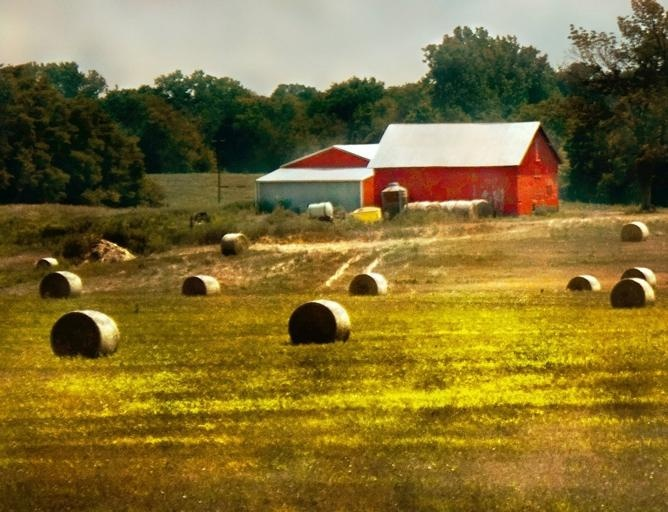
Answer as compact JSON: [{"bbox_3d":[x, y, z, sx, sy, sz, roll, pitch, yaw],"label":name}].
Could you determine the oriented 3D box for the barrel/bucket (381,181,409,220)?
[{"bbox_3d":[3.649,-3.128,86.376,1.527,2.531,1.517,-2,1,0],"label":"barrel/bucket"}]

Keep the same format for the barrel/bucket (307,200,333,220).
[{"bbox_3d":[-0.815,-2.576,85.229,1.375,1.093,1.098,1,-5,10],"label":"barrel/bucket"}]
